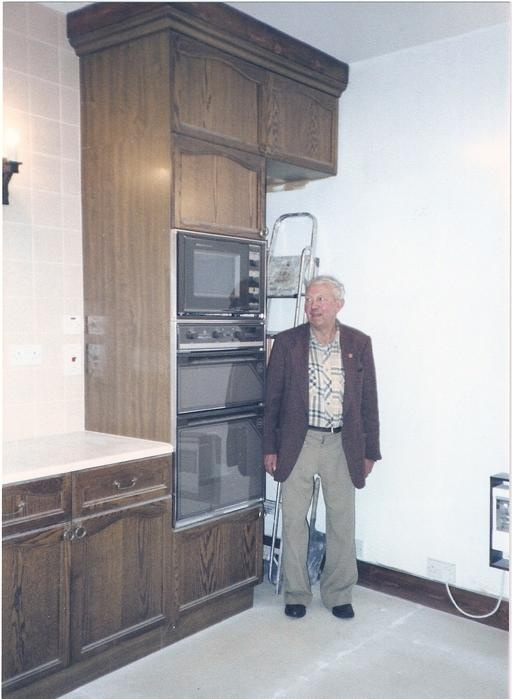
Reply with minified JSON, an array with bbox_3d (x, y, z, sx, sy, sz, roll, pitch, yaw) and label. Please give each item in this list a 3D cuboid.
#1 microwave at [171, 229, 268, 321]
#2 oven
[{"bbox_3d":[-0.154,-0.304,2.613,0.275,0.396,0.532,0,1,30],"label":"microwave"},{"bbox_3d":[-0.224,0.343,2.813,0.500,0.721,0.419,-5,8,-41],"label":"oven"}]
